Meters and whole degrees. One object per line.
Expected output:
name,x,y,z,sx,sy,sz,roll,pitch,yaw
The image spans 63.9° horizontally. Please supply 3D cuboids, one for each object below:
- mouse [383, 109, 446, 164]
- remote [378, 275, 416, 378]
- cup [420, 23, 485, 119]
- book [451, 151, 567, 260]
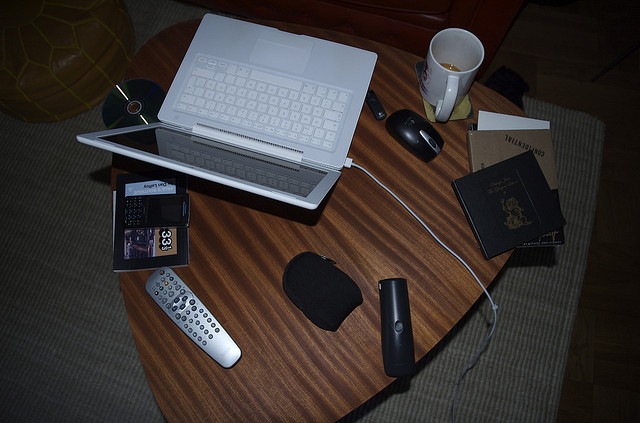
mouse,0.410,-0.299,2.037,0.160,0.085,0.277,-39,25,1
remote,0.277,0.433,1.908,0.139,0.082,0.355,-1,71,-17
cup,0.490,-0.541,1.983,0.202,0.251,0.367,19,81,2
book,0.718,-0.028,1.947,0.347,0.094,0.314,-18,77,-9
